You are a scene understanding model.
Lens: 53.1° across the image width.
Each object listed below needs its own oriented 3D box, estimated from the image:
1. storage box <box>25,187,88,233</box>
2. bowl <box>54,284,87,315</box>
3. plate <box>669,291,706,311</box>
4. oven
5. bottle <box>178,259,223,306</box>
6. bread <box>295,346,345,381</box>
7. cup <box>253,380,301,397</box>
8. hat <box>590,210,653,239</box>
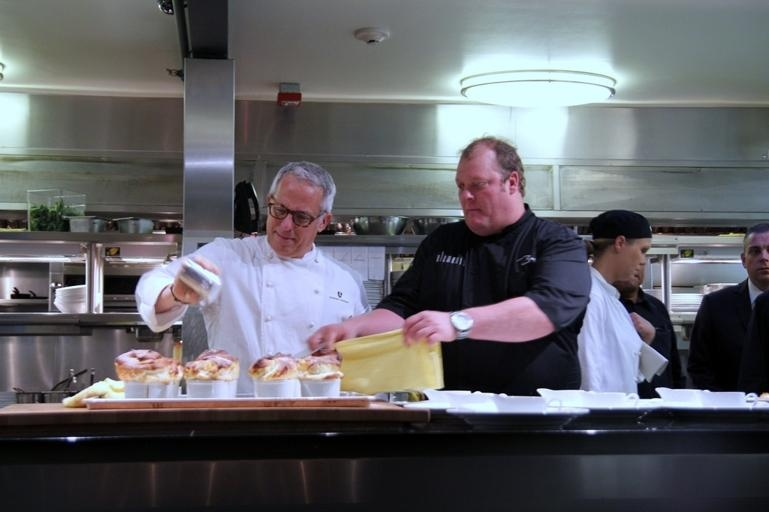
[{"bbox_3d":[-2.761,-0.395,6.464,0.442,0.365,0.399,0,-3,-12],"label":"storage box"},{"bbox_3d":[-2.644,0.364,6.496,0.267,0.164,0.247,1,-5,0],"label":"bowl"},{"bbox_3d":[2.881,0.439,7.343,0.342,0.219,0.076,3,-24,-5],"label":"plate"},{"bbox_3d":[-2.465,0.285,6.634,1.065,0.491,0.664,1,2,-19],"label":"oven"},{"bbox_3d":[-0.784,0.095,3.214,0.193,0.181,0.064,25,52,22],"label":"bottle"},{"bbox_3d":[-0.279,0.476,3.300,0.197,0.090,0.118,-2,3,-27],"label":"bread"},{"bbox_3d":[-0.446,0.541,3.232,0.136,0.046,0.099,3,-6,-23],"label":"cup"},{"bbox_3d":[1.321,-0.175,4.279,0.252,0.110,0.180,-2,4,6],"label":"hat"}]
